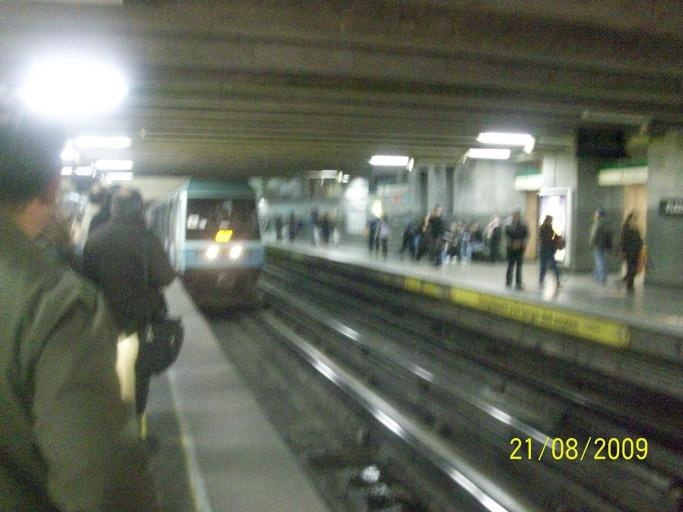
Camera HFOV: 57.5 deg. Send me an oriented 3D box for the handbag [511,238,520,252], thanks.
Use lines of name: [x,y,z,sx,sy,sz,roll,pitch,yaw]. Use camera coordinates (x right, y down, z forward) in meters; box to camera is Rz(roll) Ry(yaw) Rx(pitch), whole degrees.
handbag: [3.656,-0.230,12.942,0.188,0.238,0.047,1,5,17]

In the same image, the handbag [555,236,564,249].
handbag: [4.580,-0.279,12.953,0.120,0.313,0.652,2,6,26]

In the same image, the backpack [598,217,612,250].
backpack: [5.673,-0.480,13.351,0.222,0.894,0.601,-2,3,28]
